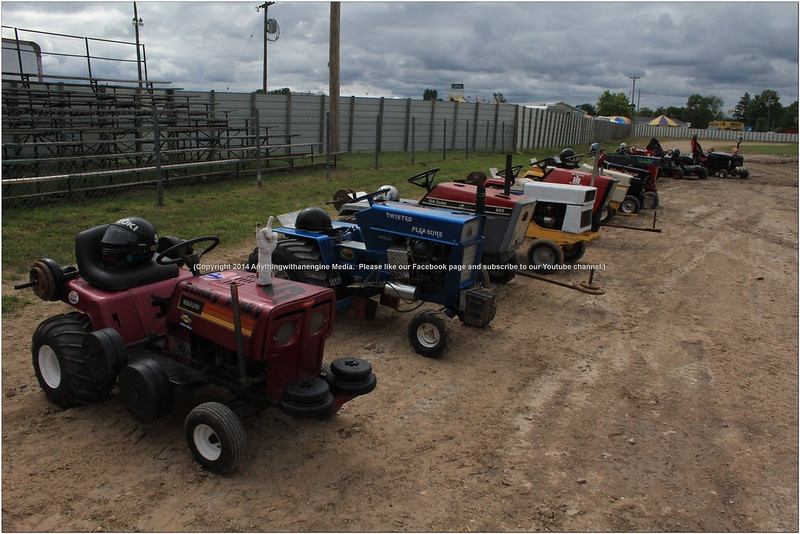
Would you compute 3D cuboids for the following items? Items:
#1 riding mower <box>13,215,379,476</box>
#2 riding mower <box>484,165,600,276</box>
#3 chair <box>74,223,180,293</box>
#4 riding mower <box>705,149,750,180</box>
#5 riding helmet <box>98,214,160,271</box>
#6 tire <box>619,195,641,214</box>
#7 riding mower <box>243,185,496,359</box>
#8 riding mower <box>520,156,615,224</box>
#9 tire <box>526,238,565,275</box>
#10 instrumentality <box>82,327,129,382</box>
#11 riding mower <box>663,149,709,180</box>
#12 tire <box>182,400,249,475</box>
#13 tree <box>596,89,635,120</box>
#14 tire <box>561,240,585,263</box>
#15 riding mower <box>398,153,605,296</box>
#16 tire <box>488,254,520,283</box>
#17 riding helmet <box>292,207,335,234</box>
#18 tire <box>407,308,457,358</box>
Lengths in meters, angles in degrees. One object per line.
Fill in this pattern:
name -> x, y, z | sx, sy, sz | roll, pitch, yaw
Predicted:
riding mower -> -2.161, 0.703, 5.371 | 3.731, 2.039, 2.263 | 13, 23, 21
riding mower -> 2.263, -0.980, 9.689 | 2.946, 1.619, 1.463 | 11, 21, 26
chair -> -2.996, -0.097, 5.151 | 0.826, 0.465, 0.811 | -4, 12, -21
riding mower -> 16.574, -5.188, 23.920 | 1.932, 1.238, 1.377 | 11, 20, 27
riding helmet -> -2.890, -0.258, 4.990 | 0.488, 0.449, 0.603 | 8, 7, 44
tire -> 7.094, -1.921, 14.564 | 0.676, 0.619, 0.240 | 5, 10, 36
riding mower -> -0.284, -0.020, 7.135 | 3.403, 1.778, 2.036 | 9, 23, 23
riding mower -> 3.382, -1.778, 10.821 | 2.567, 1.434, 1.275 | 10, 27, 27
tire -> 2.932, -0.205, 9.457 | 0.798, 0.717, 0.311 | 1, 7, 22
instrumentality -> -2.970, 0.882, 4.719 | 0.550, 0.538, 0.380 | 7, 8, 39
riding mower -> 14.140, -4.990, 23.274 | 1.595, 1.248, 2.737 | -5, 13, 3
tire -> -1.728, 1.602, 4.395 | 0.644, 0.591, 0.208 | 9, 14, 24
tree -> 37.539, -28.360, 82.255 | 4.852, 4.001, 3.503 | 11, 20, 27
tire -> 3.595, -0.350, 9.847 | 0.515, 0.465, 0.195 | 4, 7, 28
riding mower -> 1.884, -1.218, 9.791 | 3.900, 2.291, 2.158 | 5, 13, 22
tire -> 1.783, 0.066, 8.520 | 0.739, 0.686, 0.397 | 1, 3, 15
riding helmet -> -1.255, -0.695, 6.828 | 0.468, 0.201, 0.349 | 6, 22, 0
tire -> 0.430, 0.897, 6.332 | 0.639, 0.576, 0.200 | 7, 8, 25
